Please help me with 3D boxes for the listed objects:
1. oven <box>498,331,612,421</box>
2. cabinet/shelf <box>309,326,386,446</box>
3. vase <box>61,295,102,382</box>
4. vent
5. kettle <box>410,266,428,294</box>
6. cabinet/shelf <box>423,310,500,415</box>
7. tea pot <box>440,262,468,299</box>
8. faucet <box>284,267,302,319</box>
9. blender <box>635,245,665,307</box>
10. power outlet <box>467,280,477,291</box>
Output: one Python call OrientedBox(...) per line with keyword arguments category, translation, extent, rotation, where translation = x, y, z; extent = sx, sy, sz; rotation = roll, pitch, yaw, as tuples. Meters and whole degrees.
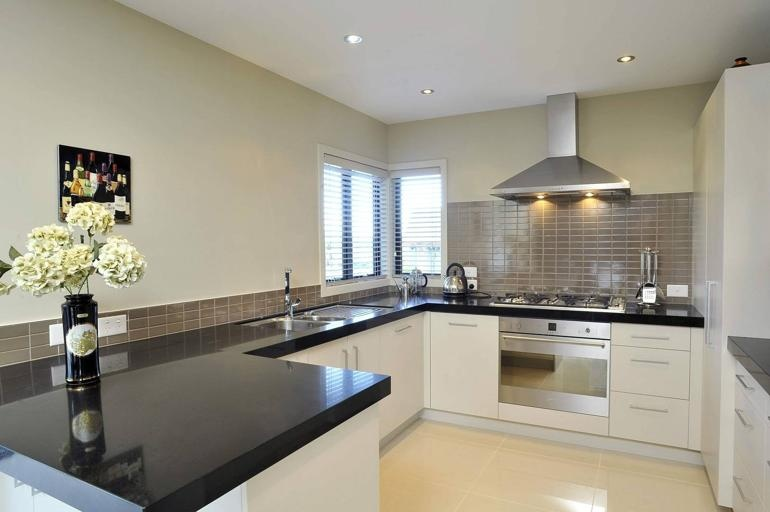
OrientedBox(category="oven", translation=(1.522, 0.979, 4.360), extent=(0.919, 0.630, 0.625), rotation=(-2, -9, 38))
OrientedBox(category="cabinet/shelf", translation=(-0.263, 0.848, 3.696), extent=(0.310, 0.508, 0.543), rotation=(2, 1, 33))
OrientedBox(category="vase", translation=(-1.447, 0.386, 2.404), extent=(0.163, 0.426, 0.118), rotation=(-3, 10, -19))
OrientedBox(category="vent", translation=(1.639, -0.956, 4.661), extent=(1.125, 0.921, 0.998), rotation=(-1, 1, 29))
OrientedBox(category="kettle", translation=(0.354, 0.247, 5.187), extent=(0.169, 0.214, 0.380), rotation=(1, 9, 4))
OrientedBox(category="cabinet/shelf", translation=(0.763, 0.914, 4.798), extent=(0.795, 1.135, 0.765), rotation=(1, 3, 23))
OrientedBox(category="tea pot", translation=(0.697, 0.220, 4.997), extent=(0.242, 0.291, 0.469), rotation=(2, 9, 7))
OrientedBox(category="faucet", translation=(-0.738, 0.280, 4.014), extent=(0.118, 0.373, 0.351), rotation=(-1, 9, -10))
OrientedBox(category="blender", translation=(2.250, 0.175, 4.291), extent=(0.226, 0.455, 0.405), rotation=(5, 10, 27))
OrientedBox(category="power outlet", translation=(0.871, 0.280, 5.086), extent=(0.126, 0.124, 0.094), rotation=(-4, -7, 30))
